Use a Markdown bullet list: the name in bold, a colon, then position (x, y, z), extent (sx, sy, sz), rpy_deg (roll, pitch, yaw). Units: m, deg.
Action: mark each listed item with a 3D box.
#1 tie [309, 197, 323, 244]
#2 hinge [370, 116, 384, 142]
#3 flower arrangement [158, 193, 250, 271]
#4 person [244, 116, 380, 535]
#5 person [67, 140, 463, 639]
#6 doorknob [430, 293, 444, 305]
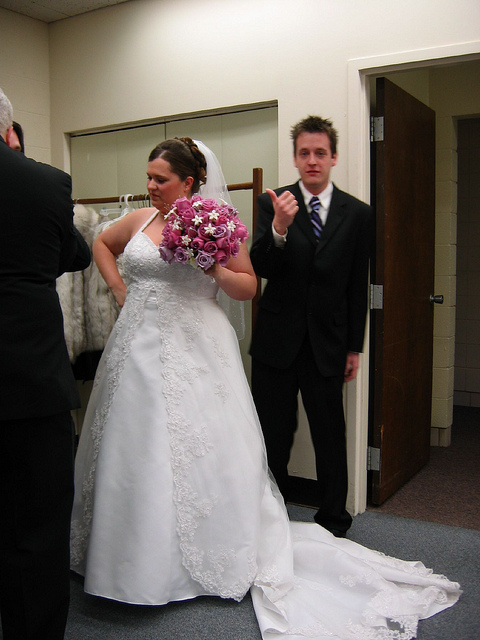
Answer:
- **tie**: position (0.332, -0.444, 2.134), extent (0.042, 0.216, 0.032), rpy_deg (-1, -9, 1)
- **hinge**: position (0.690, -0.964, 2.463), extent (0.069, 0.122, 0.045), rpy_deg (1, 11, 22)
- **flower arrangement**: position (-0.108, -0.246, 1.586), extent (0.228, 0.236, 0.219), rpy_deg (-28, 44, -35)
- **person**: position (0.316, 0.076, 2.179), extent (0.452, 1.881, 0.503), rpy_deg (2, 9, 2)
- **person**: position (-0.058, 0.189, 1.684), extent (1.180, 1.640, 0.759), rpy_deg (-2, 11, 9)
- **doorknob**: position (1.278, -0.143, 3.175), extent (0.075, 0.065, 0.045), rpy_deg (2, -22, 18)
